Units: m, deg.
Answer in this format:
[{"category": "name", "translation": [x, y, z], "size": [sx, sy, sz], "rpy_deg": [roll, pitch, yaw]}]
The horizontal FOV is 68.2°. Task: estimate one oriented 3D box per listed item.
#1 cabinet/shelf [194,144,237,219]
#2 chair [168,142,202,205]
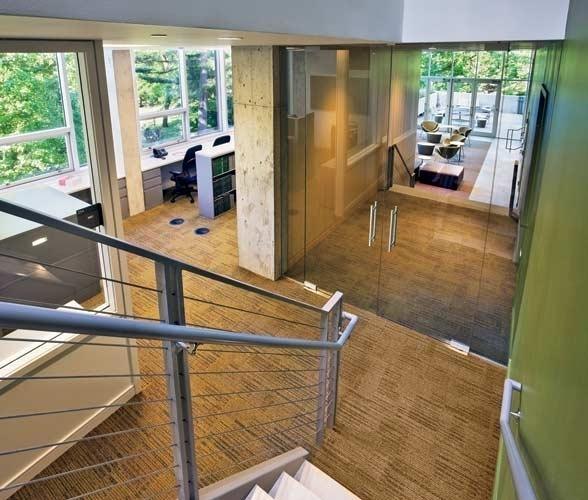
[{"category": "cabinet/shelf", "translation": [-1.340, -1.166, 7.427], "size": [0.392, 0.971, 1.037], "rpy_deg": [10, 28, 21]}, {"category": "chair", "translation": [-2.025, -1.441, 8.049], "size": [0.609, 1.025, 0.669], "rpy_deg": [15, 29, 18]}]
